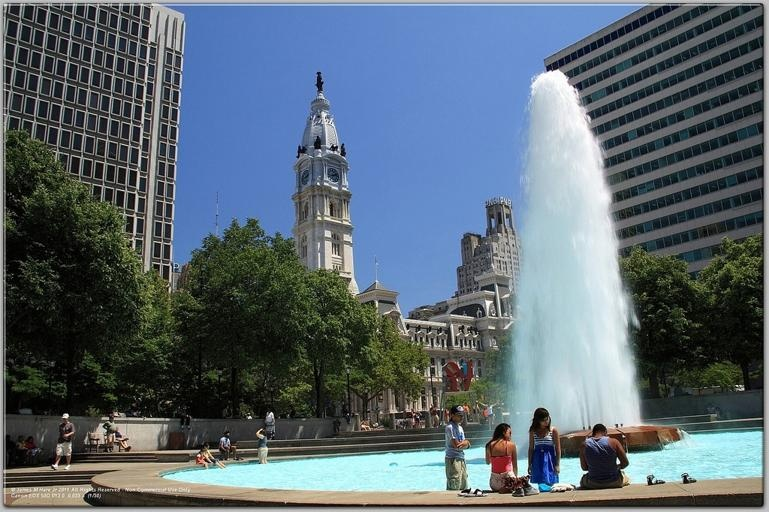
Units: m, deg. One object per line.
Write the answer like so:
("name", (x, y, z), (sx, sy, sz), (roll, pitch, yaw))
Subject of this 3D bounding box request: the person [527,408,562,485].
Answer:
("person", (5.281, 6.424, 20.128), (1.083, 2.606, 0.910), (-6, -19, 12))

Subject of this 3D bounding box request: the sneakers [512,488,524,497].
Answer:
("sneakers", (4.274, 7.516, 19.216), (0.408, 0.240, 0.218), (-5, -19, 8))

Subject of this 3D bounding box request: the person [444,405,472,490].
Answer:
("person", (2.497, 6.584, 20.851), (0.788, 2.798, 1.445), (-4, -19, 5))

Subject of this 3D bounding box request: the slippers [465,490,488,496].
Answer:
("slippers", (3.003, 7.625, 19.461), (0.749, 0.227, 0.505), (0, -19, -8))

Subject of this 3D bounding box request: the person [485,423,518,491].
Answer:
("person", (3.864, 6.653, 19.945), (0.955, 2.121, 0.628), (-5, -19, 8))
